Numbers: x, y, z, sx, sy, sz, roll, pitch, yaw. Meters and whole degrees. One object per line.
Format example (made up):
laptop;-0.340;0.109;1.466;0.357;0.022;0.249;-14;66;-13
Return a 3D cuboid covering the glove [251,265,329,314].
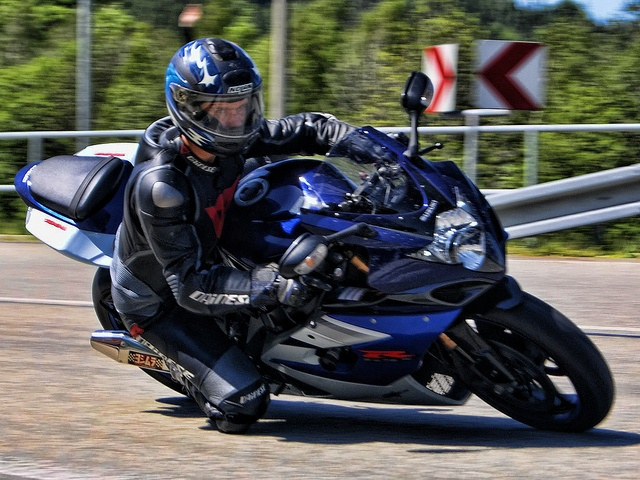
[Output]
glove;-0.218;0.252;3.627;0.275;0.218;0.186;11;20;44

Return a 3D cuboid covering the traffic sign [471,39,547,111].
traffic sign;2.128;-1.876;8.225;1.255;0.761;0.128;-14;22;-37
